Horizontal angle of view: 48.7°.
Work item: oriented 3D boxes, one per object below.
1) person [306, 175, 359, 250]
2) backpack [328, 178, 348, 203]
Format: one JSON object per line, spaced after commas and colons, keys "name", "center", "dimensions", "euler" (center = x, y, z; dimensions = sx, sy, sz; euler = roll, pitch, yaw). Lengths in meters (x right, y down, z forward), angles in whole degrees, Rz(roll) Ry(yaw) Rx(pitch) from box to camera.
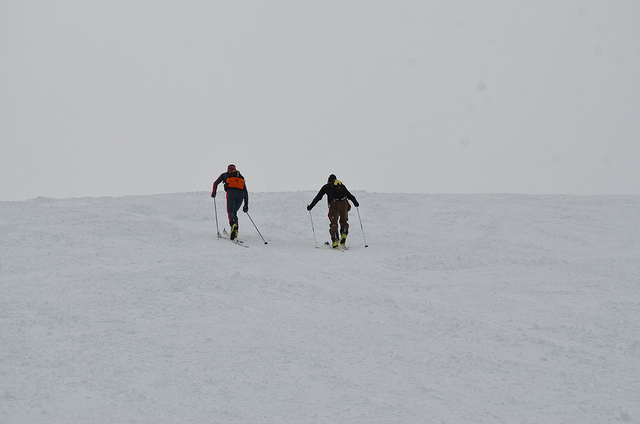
{"name": "person", "center": [0.498, -0.044, 19.761], "dimensions": [1.019, 1.996, 1.237], "euler": [3, 8, 18]}
{"name": "backpack", "center": [0.505, -0.626, 19.722], "dimensions": [0.426, 0.647, 0.614], "euler": [1, -33, -5]}
